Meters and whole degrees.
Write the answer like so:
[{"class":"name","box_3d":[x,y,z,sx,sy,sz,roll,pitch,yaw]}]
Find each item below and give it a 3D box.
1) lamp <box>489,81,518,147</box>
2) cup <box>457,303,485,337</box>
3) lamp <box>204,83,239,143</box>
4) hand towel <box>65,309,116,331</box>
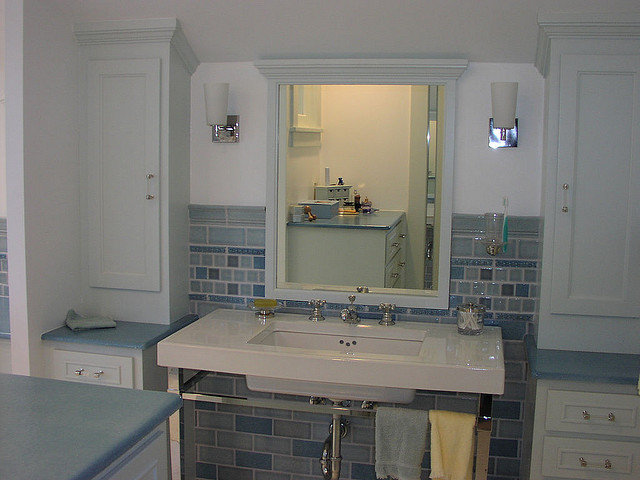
[{"class":"lamp","box_3d":[0.943,-0.636,3.108,0.156,0.324,0.165,6,10,17]},{"class":"cup","box_3d":[0.785,0.399,3.160,0.140,0.155,0.141,-1,4,0]},{"class":"lamp","box_3d":[-0.535,-0.694,3.337,0.169,0.323,0.153,3,10,3]},{"class":"hand towel","box_3d":[-1.245,0.434,3.311,0.270,0.071,0.171,2,10,-7]}]
